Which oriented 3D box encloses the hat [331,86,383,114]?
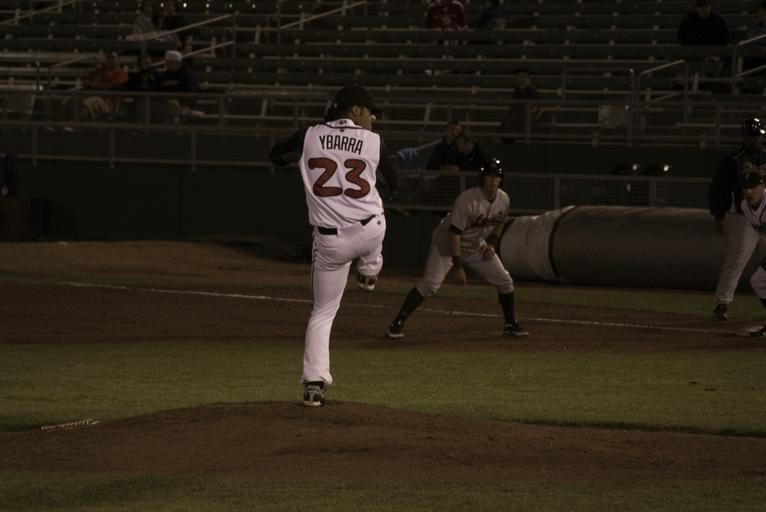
[{"bbox_3d":[-0.333,-2.029,19.004,0.529,0.245,0.342,-3,11,-12],"label":"hat"}]

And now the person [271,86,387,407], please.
[{"bbox_3d":[-0.605,-0.144,18.921,0.927,3.982,1.516,12,19,34],"label":"person"}]

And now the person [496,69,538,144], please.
[{"bbox_3d":[2.803,-3.073,29.969,0.759,1.390,1.126,4,15,8],"label":"person"}]

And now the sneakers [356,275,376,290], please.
[{"bbox_3d":[-0.219,0.350,19.472,0.202,0.180,0.247,-4,15,-29],"label":"sneakers"}]
